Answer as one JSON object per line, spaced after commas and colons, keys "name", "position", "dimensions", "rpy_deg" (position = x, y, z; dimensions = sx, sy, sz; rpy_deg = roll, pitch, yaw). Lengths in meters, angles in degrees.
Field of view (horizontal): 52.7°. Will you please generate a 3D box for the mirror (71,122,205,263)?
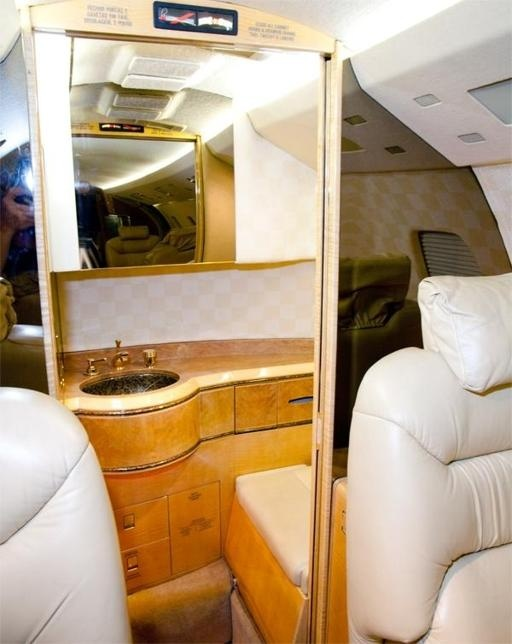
{"name": "mirror", "position": [-0.443, -0.486, 1.869], "dimensions": [0.476, 0.530, 0.041], "rpy_deg": [-8, 23, -28]}
